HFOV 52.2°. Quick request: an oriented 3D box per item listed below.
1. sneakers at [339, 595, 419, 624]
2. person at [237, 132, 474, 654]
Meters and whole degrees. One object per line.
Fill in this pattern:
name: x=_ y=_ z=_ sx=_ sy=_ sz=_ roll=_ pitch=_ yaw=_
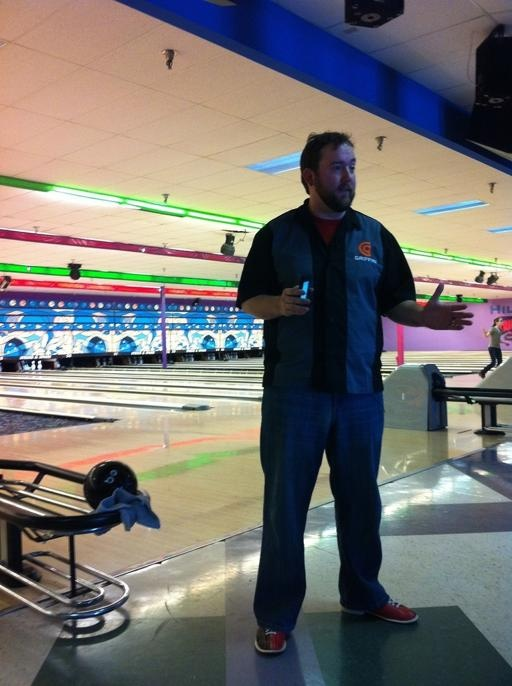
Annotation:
sneakers: x=0.359 y=0.759 z=1.530 sx=0.216 sy=0.067 sz=0.070 roll=-1 pitch=-1 yaw=15
person: x=0.265 y=0.103 z=1.437 sx=0.600 sy=1.400 sz=0.367 roll=-2 pitch=5 yaw=-6
